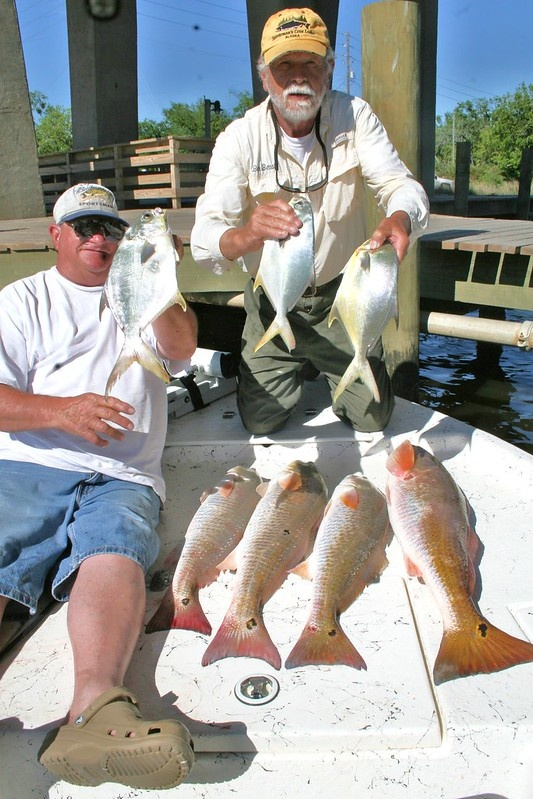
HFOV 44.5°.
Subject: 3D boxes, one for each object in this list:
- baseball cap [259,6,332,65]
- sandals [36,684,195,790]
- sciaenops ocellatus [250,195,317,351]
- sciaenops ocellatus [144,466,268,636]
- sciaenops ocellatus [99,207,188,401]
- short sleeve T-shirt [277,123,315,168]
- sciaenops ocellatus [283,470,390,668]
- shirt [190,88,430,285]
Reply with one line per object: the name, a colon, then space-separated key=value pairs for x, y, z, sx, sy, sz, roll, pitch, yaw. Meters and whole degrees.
baseball cap: x=0.104 y=-1.384 z=2.461 sx=0.200 sy=0.134 sz=0.273 roll=-2 pitch=19 yaw=5
sandals: x=-0.325 y=0.778 z=1.455 sx=0.336 sy=0.254 sz=0.204 roll=2 pitch=18 yaw=0
sciaenops ocellatus: x=0.064 y=-0.408 z=2.126 sx=0.178 sy=0.490 sz=0.229 roll=2 pitch=18 yaw=-1
sciaenops ocellatus: x=-0.170 y=0.514 z=2.273 sx=0.243 sy=0.224 sz=0.826 roll=20 pitch=33 yaw=8
sciaenops ocellatus: x=-0.366 y=-0.280 z=1.914 sx=0.235 sy=0.537 sz=0.212 roll=0 pitch=18 yaw=-8
short sleeve T-shirt: x=0.136 y=-1.084 z=2.775 sx=0.118 sy=0.150 sz=0.112 roll=1 pitch=5 yaw=5
sciaenops ocellatus: x=0.256 y=0.512 z=2.120 sx=0.235 sy=0.146 sz=0.789 roll=6 pitch=44 yaw=14
shirt: x=0.110 y=-0.939 z=3.094 sx=0.876 sy=0.706 sz=0.914 roll=0 pitch=47 yaw=1
